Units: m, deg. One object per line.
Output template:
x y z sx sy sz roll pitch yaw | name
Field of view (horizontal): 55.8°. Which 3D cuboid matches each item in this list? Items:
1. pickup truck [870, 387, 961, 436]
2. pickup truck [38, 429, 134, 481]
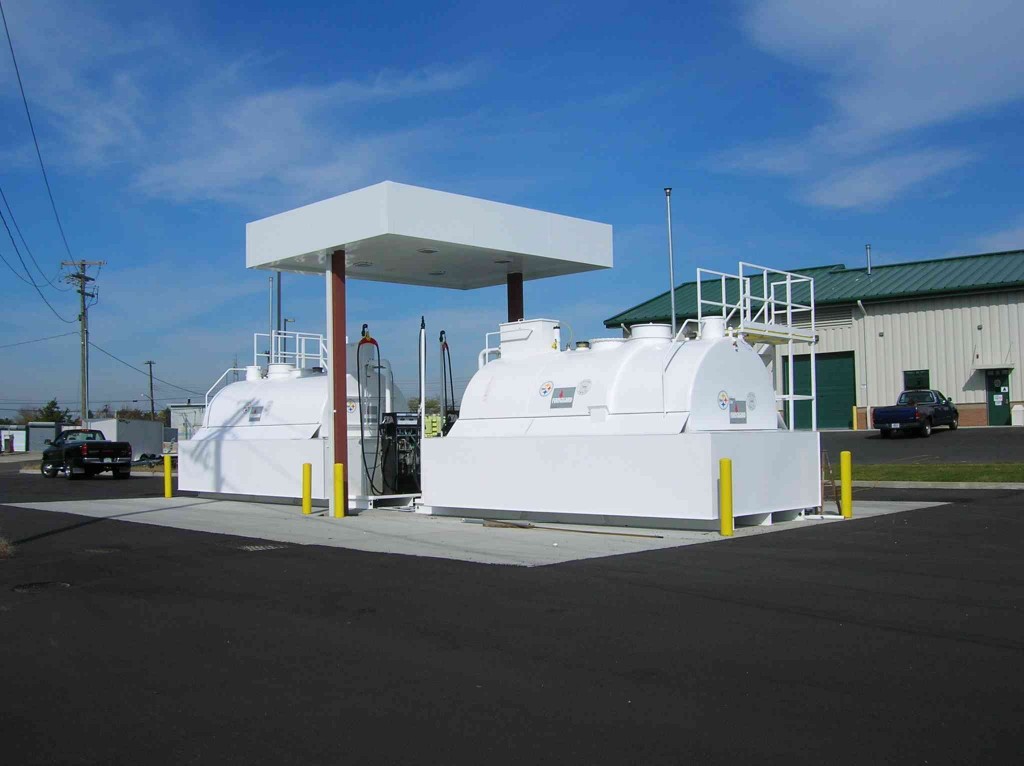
17.536 1.340 42.197 1.805 1.661 5.365 -2 -1 42 | pickup truck
-17.056 2.865 38.585 1.982 1.446 4.071 2 0 -38 | pickup truck
